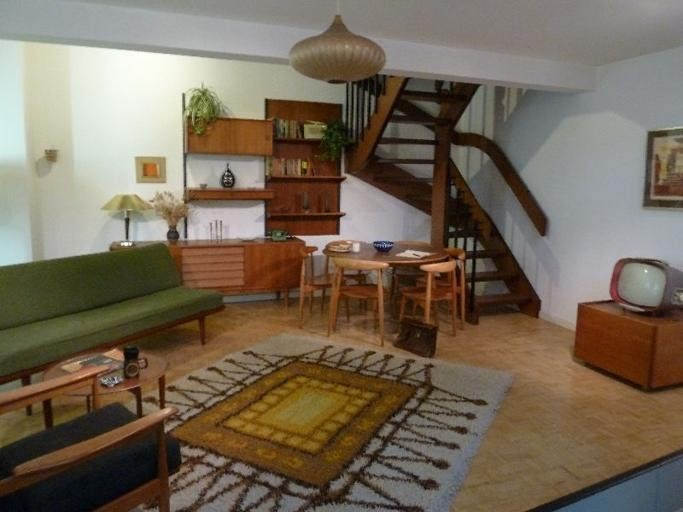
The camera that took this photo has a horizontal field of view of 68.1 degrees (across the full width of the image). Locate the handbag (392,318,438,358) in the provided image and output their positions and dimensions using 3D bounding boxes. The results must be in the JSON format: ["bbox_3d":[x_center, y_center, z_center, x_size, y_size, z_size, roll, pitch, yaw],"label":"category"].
[{"bbox_3d":[0.747,0.823,5.104,0.396,0.310,0.128,14,-2,29],"label":"handbag"}]

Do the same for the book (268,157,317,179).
[{"bbox_3d":[-0.655,-1.192,6.773,0.637,0.252,0.251,-8,12,-41],"label":"book"}]

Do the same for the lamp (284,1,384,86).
[{"bbox_3d":[-0.085,-1.431,3.667,0.572,0.646,0.532,-3,9,-18],"label":"lamp"}]

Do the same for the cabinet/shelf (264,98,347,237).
[{"bbox_3d":[-0.579,-1.217,7.125,0.378,1.941,1.262,-19,22,-32],"label":"cabinet/shelf"}]

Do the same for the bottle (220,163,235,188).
[{"bbox_3d":[-1.454,-1.026,6.448,0.238,0.285,0.081,-2,-3,5],"label":"bottle"}]

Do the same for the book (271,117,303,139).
[{"bbox_3d":[-0.742,-1.677,6.661,0.426,0.354,0.225,2,-4,-23],"label":"book"}]

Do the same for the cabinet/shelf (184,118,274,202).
[{"bbox_3d":[-1.460,-1.228,6.341,1.208,0.963,0.395,-2,15,-19],"label":"cabinet/shelf"}]

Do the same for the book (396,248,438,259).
[{"bbox_3d":[0.792,-0.022,5.555,0.409,0.025,0.573,3,9,17],"label":"book"}]

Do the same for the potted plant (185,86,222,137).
[{"bbox_3d":[-1.688,-1.789,6.186,0.436,0.620,0.427,-3,10,-15],"label":"potted plant"}]

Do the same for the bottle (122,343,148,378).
[{"bbox_3d":[-1.440,0.736,3.520,0.165,0.191,0.109,1,3,-41],"label":"bottle"}]

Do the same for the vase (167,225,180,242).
[{"bbox_3d":[-2.060,-0.273,6.178,0.196,0.198,0.180,1,12,3],"label":"vase"}]

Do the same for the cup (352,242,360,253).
[{"bbox_3d":[0.157,-0.097,5.845,0.111,0.130,0.102,0,7,0],"label":"cup"}]

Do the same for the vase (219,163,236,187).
[{"bbox_3d":[-1.452,-1.019,6.433,0.240,0.286,0.081,-2,-3,0],"label":"vase"}]

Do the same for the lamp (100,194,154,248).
[{"bbox_3d":[-2.516,-0.439,5.975,0.547,0.585,0.543,-4,10,-24],"label":"lamp"}]
